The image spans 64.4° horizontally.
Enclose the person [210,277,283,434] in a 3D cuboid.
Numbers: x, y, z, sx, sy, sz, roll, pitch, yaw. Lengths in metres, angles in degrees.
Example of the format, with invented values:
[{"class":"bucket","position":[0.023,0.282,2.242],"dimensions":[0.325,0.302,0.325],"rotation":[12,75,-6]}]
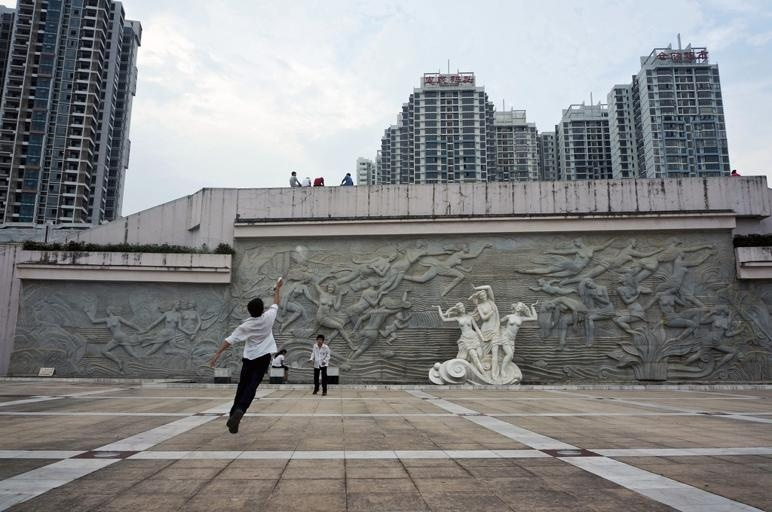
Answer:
[{"class":"person","position":[-2.419,1.712,10.979],"dimensions":[1.045,2.651,1.278],"rotation":[1,-2,-10]}]

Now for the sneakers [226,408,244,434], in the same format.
[{"class":"sneakers","position":[-2.545,2.762,10.392],"dimensions":[0.194,0.500,0.231],"rotation":[14,0,-1]}]
